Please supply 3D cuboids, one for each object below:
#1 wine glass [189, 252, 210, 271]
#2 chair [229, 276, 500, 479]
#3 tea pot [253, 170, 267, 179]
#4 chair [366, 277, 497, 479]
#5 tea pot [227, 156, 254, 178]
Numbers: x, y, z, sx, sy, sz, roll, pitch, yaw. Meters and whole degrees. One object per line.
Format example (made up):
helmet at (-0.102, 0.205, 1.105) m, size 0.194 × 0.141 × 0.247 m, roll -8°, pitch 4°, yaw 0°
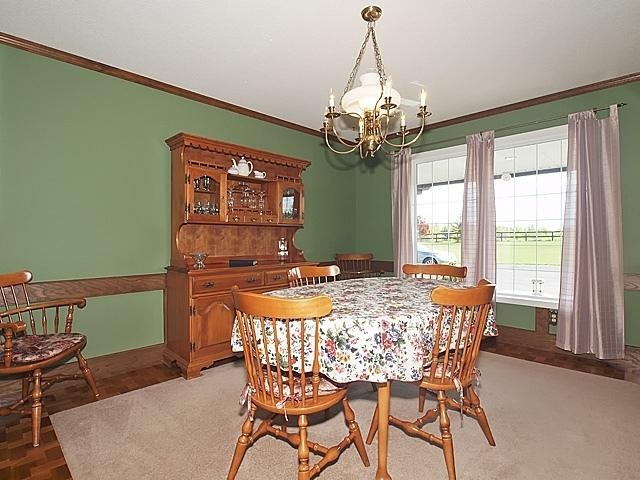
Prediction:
wine glass at (-1.330, 0.242, 4.489) m, size 0.184 × 0.173 × 0.187 m, roll 4°, pitch 5°, yaw 36°
chair at (0.460, 1.009, 3.072) m, size 1.573 × 1.341 × 1.456 m, roll -1°, pitch 1°, yaw 25°
tea pot at (-0.739, -0.797, 5.053) m, size 0.107 × 0.105 × 0.150 m, roll -2°, pitch -2°, yaw 44°
chair at (1.162, 1.007, 3.758) m, size 1.269 × 1.846 × 1.253 m, roll -2°, pitch -3°, yaw 44°
tea pot at (-0.922, -0.859, 4.844) m, size 0.286 × 0.218 × 0.166 m, roll 4°, pitch -3°, yaw -38°
